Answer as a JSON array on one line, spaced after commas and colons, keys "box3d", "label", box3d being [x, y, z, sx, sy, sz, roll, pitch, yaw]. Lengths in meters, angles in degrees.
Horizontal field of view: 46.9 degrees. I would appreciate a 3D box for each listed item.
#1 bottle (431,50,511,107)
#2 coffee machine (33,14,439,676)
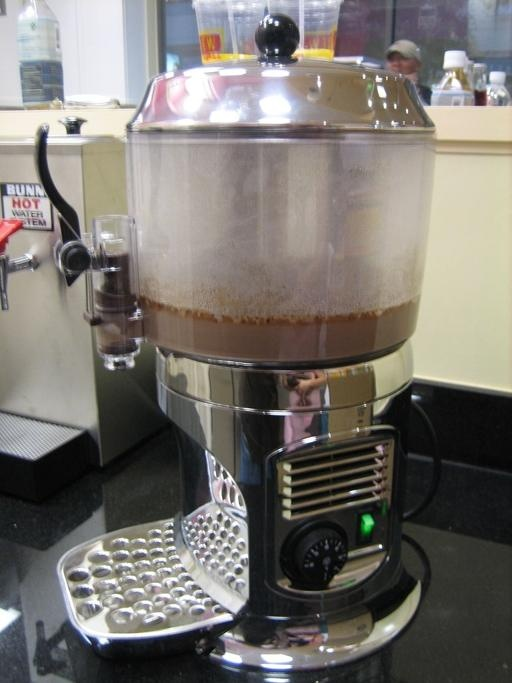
[{"box3d": [0.279, -0.336, 0.762, 0.100, 0.073, 0.068, 5, 14, 16], "label": "bottle"}, {"box3d": [-0.013, -0.001, 0.501, 0.292, 0.475, 0.240, -8, 16, -21], "label": "coffee machine"}]
